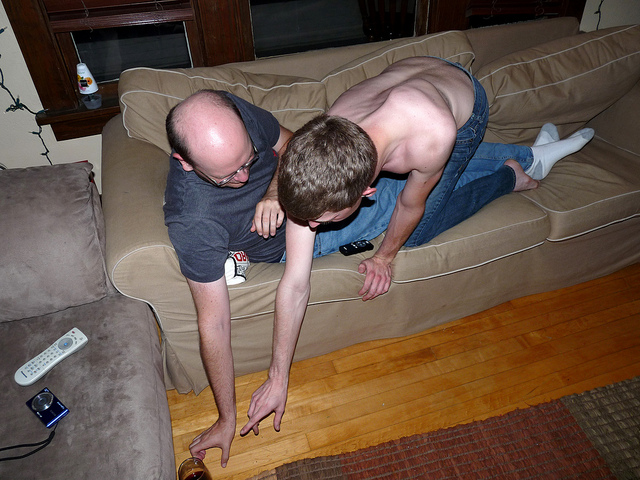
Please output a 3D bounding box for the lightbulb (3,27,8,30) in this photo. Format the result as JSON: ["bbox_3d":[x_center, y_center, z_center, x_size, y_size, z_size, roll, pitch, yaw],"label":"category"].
[{"bbox_3d":[-1.647,-1.104,2.821,0.024,0.005,0.006,-34,69,-20],"label":"lightbulb"}]

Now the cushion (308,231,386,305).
[{"bbox_3d":[0.095,0.142,2.510,0.369,0.236,0.208,-10,58,-8],"label":"cushion"}]

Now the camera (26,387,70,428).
[{"bbox_3d":[-1.024,0.628,2.030,0.154,0.044,0.100,37,52,26],"label":"camera"}]

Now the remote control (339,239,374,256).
[{"bbox_3d":[0.168,0.035,2.493,0.138,0.033,0.065,-13,40,-15],"label":"remote control"}]

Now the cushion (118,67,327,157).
[{"bbox_3d":[-0.455,-0.678,2.648,0.990,0.311,0.342,-10,40,-14],"label":"cushion"}]

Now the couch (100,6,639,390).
[{"bbox_3d":[0.311,-0.120,2.512,2.514,1.069,1.045,-10,70,-9],"label":"couch"}]

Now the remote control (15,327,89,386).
[{"bbox_3d":[-1.043,0.456,2.172,0.116,0.052,0.307,37,60,25],"label":"remote control"}]

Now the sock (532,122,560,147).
[{"bbox_3d":[1.210,-0.569,2.905,0.047,0.129,0.088,24,3,14],"label":"sock"}]

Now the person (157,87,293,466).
[{"bbox_3d":[-0.388,0.114,2.312,0.570,1.332,1.106,-2,39,-3],"label":"person"}]

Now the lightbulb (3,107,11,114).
[{"bbox_3d":[-1.718,-0.710,2.961,0.044,0.014,0.010,-31,23,14],"label":"lightbulb"}]

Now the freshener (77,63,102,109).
[{"bbox_3d":[-1.312,-0.871,3.050,0.100,0.235,0.141,-16,42,-18],"label":"freshener"}]
